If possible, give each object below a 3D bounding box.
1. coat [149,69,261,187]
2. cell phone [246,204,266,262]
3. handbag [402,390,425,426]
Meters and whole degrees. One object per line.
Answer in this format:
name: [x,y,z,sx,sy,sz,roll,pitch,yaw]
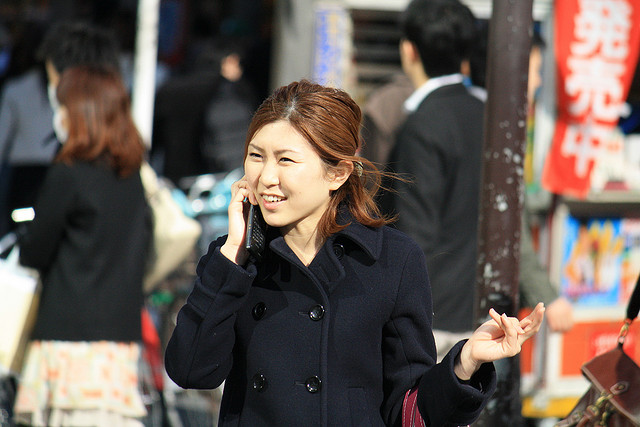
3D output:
coat: [-1.157,-0.830,9.477,0.982,1.430,0.712,9,5,-30]
cell phone: [-0.323,0.094,5.268,0.160,0.322,0.031,35,43,29]
handbag: [0.497,1.027,5.119,0.137,0.226,0.112,-1,-24,3]
